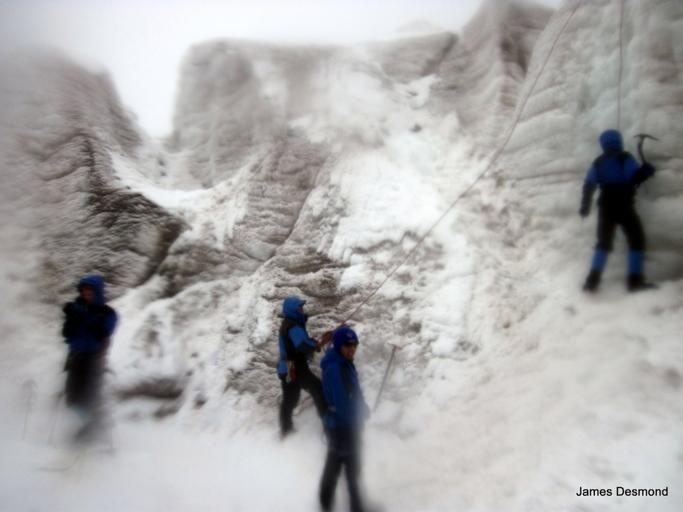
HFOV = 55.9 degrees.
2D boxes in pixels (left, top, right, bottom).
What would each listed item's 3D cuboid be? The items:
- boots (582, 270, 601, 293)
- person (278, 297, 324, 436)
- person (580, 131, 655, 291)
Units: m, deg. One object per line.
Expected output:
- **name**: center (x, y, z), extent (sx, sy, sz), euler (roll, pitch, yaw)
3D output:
- **boots**: center (3.758, 0.385, 9.622), extent (0.183, 0.122, 0.347), euler (20, 88, 30)
- **person**: center (-0.639, 1.756, 9.694), extent (0.836, 1.969, 1.227), euler (-5, 37, 3)
- **person**: center (4.102, -0.502, 9.575), extent (1.047, 1.659, 1.354), euler (9, 40, 20)
